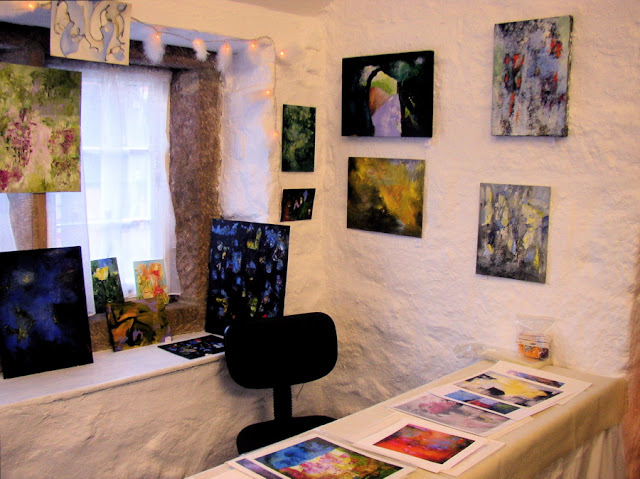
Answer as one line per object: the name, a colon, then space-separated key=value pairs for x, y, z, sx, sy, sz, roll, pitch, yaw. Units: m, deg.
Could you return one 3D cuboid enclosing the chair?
chair: x=-0.229 y=0.723 z=2.754 sx=0.586 sy=0.656 sz=0.532 roll=-6 pitch=3 yaw=-7
